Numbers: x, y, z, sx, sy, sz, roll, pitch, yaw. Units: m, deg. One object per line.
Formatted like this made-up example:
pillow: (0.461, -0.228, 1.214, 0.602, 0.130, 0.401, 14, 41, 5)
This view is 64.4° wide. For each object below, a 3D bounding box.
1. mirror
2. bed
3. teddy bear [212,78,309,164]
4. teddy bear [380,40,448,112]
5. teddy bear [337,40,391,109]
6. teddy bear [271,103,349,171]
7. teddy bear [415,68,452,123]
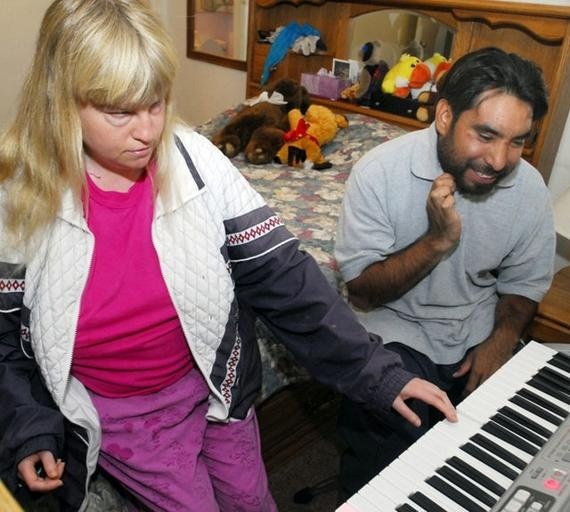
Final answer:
mirror: (0.673, -1.180, 2.572, 0.351, 0.186, 0.485, -13, 25, -36)
bed: (-0.225, 0.114, 1.138, 0.844, 0.896, 0.707, 36, 41, 31)
teddy bear: (-0.085, -0.863, 2.995, 0.430, 0.303, 0.749, 3, 38, 32)
teddy bear: (0.676, -1.033, 2.541, 0.341, 0.257, 0.369, -37, 41, -25)
teddy bear: (0.460, -1.125, 2.729, 0.262, 0.336, 0.257, 11, 27, 23)
teddy bear: (0.149, -0.757, 2.768, 0.388, 0.222, 0.530, 8, 53, 17)
teddy bear: (0.805, -0.863, 2.435, 0.185, 0.246, 0.166, -10, 29, -3)
